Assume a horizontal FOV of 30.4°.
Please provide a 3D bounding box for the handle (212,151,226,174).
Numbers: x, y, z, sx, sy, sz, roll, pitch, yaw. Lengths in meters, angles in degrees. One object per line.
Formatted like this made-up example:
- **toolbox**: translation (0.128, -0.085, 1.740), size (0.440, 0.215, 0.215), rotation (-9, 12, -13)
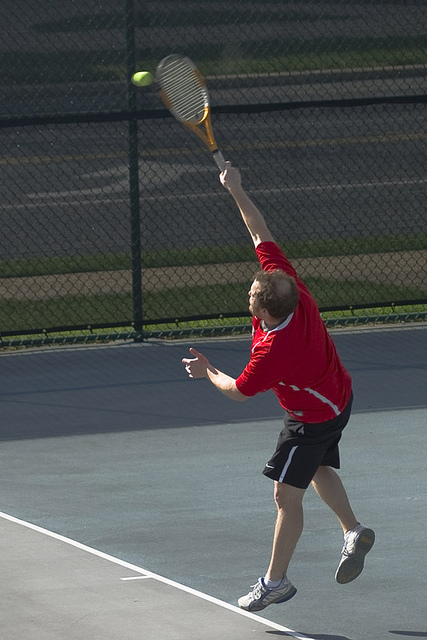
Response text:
- **handle**: translation (0.033, -0.737, 3.687), size (0.041, 0.035, 0.134), rotation (31, 16, -27)

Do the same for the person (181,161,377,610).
- **person**: translation (0.286, 0.319, 3.221), size (0.764, 1.594, 1.005), rotation (2, 14, 10)

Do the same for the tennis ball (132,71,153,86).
- **tennis ball**: translation (-0.555, -1.858, 6.036), size (0.145, 0.110, 0.284), rotation (-2, 11, -6)
